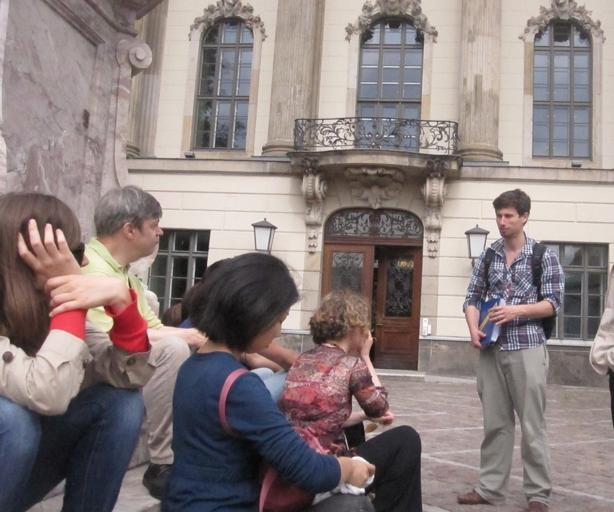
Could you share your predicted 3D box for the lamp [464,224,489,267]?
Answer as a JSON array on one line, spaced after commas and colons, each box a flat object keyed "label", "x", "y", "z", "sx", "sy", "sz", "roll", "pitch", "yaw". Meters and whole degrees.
[{"label": "lamp", "x": 3.099, "y": -0.211, "z": 14.609, "sx": 0.468, "sy": 0.763, "sz": 0.467, "roll": -1, "pitch": 10, "yaw": -8}]

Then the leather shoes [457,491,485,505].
[{"label": "leather shoes", "x": 1.001, "y": 1.479, "z": 4.849, "sx": 0.141, "sy": 0.058, "sz": 0.072, "roll": 7, "pitch": -8, "yaw": -7}]

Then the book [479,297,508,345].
[{"label": "book", "x": 1.187, "y": 0.428, "z": 5.056, "sx": 0.049, "sy": 0.268, "sz": 0.268, "roll": 18, "pitch": 5, "yaw": -13}]

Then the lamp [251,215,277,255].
[{"label": "lamp", "x": -0.772, "y": -0.327, "z": 14.965, "sx": 0.478, "sy": 0.673, "sz": 0.417, "roll": 4, "pitch": -5, "yaw": 21}]

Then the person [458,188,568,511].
[{"label": "person", "x": 1.267, "y": 0.551, "z": 5.035, "sx": 0.640, "sy": 1.969, "sz": 0.565, "roll": 3, "pitch": -2, "yaw": 21}]
